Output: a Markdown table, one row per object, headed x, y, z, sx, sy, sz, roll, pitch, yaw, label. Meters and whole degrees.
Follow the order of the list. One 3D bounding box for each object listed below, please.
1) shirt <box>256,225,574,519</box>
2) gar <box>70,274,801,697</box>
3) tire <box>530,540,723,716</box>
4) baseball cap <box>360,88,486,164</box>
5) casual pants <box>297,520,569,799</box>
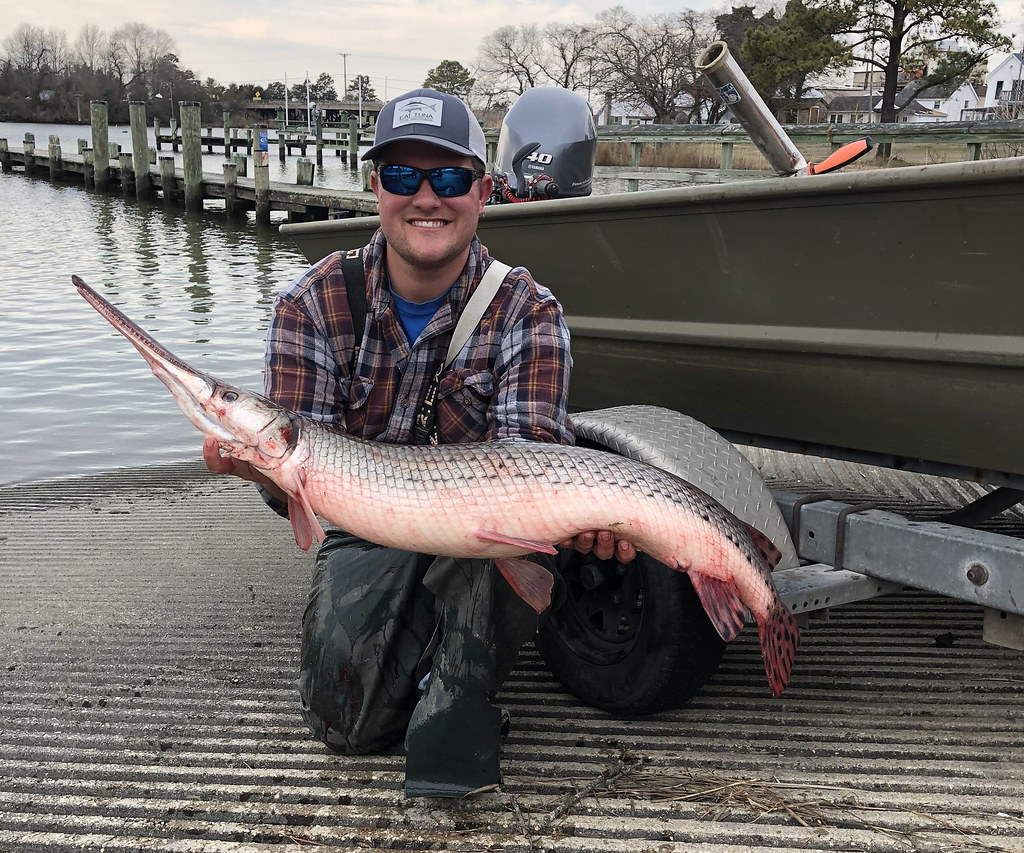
| x | y | z | sx | sy | sz | roll | pitch | yaw | label |
| --- | --- | --- | --- | --- | --- | --- | --- | --- | --- |
| -0.283 | -0.161 | 3.190 | 1.092 | 1.082 | 0.576 | 4 | 5 | -2 | shirt |
| -0.201 | 0.250 | 3.620 | 2.605 | 0.577 | 0.651 | 29 | -18 | -1 | gar |
| 0.372 | 0.707 | 3.426 | 0.532 | 0.609 | 0.542 | 4 | 5 | -35 | tire |
| -0.269 | -0.962 | 3.233 | 0.336 | 0.273 | 0.496 | 0 | 2 | 6 | baseball cap |
| -0.351 | 0.673 | 3.115 | 0.513 | 0.476 | 0.823 | -12 | 16 | -21 | casual pants |
